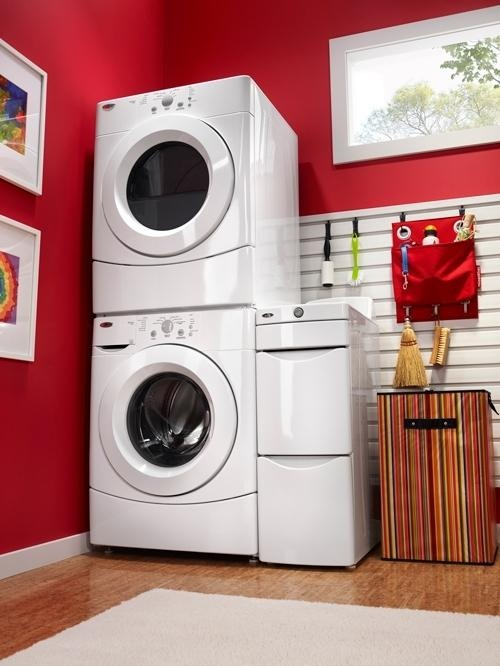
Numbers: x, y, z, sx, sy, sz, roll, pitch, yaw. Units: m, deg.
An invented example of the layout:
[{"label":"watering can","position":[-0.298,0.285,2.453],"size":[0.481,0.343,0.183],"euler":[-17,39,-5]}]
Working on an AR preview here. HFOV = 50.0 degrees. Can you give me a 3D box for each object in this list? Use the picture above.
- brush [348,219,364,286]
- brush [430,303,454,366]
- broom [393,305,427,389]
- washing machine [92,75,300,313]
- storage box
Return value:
[{"label":"brush","position":[0.468,-0.365,2.397],"size":[0.052,0.232,0.058],"euler":[-2,-1,12]},{"label":"brush","position":[0.769,0.015,2.185],"size":[0.082,0.212,0.103],"euler":[-3,-1,23]},{"label":"broom","position":[0.624,0.100,2.101],"size":[0.121,0.216,0.079],"euler":[-2,-1,2]},{"label":"washing machine","position":[-0.166,-0.453,2.329],"size":[0.787,1.106,0.859],"euler":[-3,-8,25]},{"label":"storage box","position":[0.592,0.459,1.748],"size":[0.330,0.466,0.126],"euler":[-2,-1,13]}]
